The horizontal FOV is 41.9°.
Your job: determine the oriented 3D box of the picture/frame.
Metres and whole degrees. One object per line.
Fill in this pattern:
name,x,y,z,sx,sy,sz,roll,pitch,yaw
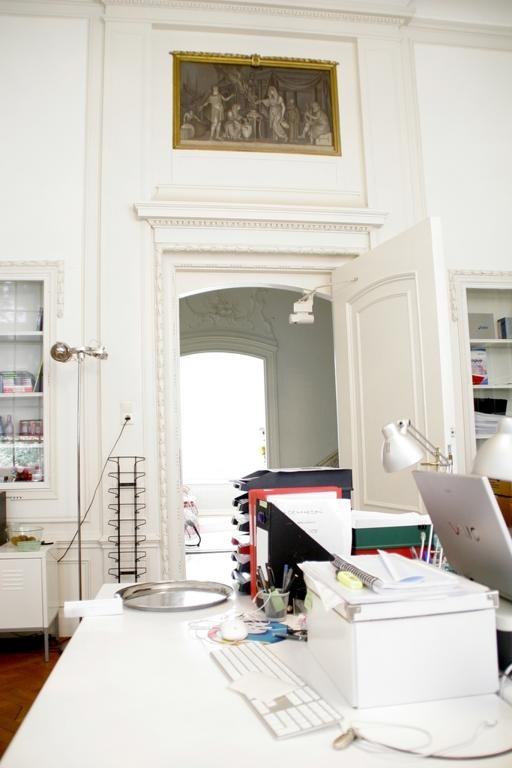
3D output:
picture/frame,0.001,-1.813,4.303,1.064,0.690,0.041,1,-10,-5

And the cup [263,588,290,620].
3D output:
cup,0.055,0.595,1.847,0.078,0.070,0.077,-2,-3,0
